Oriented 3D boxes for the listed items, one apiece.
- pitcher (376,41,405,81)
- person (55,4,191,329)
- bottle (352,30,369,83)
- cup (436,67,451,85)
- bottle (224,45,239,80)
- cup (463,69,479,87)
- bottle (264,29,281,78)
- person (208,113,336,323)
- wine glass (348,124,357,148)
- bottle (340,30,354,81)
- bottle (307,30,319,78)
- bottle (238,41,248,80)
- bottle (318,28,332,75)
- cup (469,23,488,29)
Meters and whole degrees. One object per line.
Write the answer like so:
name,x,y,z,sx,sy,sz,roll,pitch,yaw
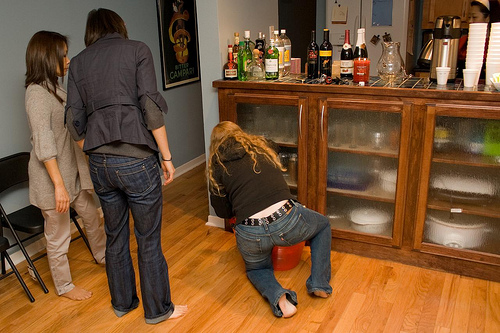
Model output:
pitcher,1.175,-0.878,2.973,0.229,0.305,0.216,-15,23,-21
person,-0.837,0.057,2.466,0.744,2.133,0.561,3,22,19
bottle,0.925,-0.909,2.953,0.135,0.405,0.235,2,22,16
cup,1.468,-0.685,2.718,0.122,0.130,0.120,-2,15,0
bottle,-0.181,-0.944,3.254,0.135,0.298,0.095,-7,21,-7
cup,1.641,-0.653,2.636,0.138,0.128,0.064,-11,22,-19
bottle,0.201,-1.019,3.230,0.124,0.411,0.202,4,22,21
person,0.153,0.354,2.693,0.991,1.314,0.746,2,22,14
wine glass,0.855,-0.253,2.964,0.071,0.188,0.056,-1,21,9
bottle,0.827,-0.940,3.025,0.106,0.398,0.225,1,21,13
bottle,0.563,-1.004,3.200,0.105,0.396,0.217,-2,21,6
bottle,-0.070,-0.961,3.262,0.082,0.318,0.125,-4,21,-1
bottle,0.665,-0.999,3.134,0.111,0.381,0.215,-2,21,4
cup,1.719,-1.047,2.662,0.131,0.034,0.053,-3,21,2
